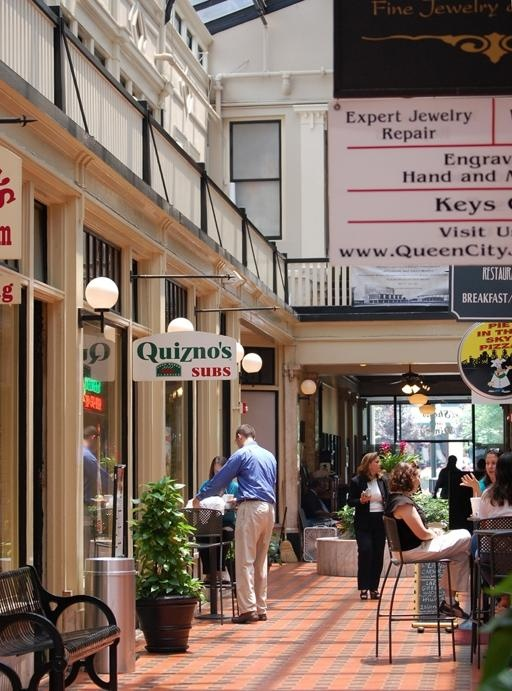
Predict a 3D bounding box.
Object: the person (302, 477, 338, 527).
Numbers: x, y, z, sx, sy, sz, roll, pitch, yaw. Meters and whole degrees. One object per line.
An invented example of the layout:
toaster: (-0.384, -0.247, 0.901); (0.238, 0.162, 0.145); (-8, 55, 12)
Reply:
person: (1.070, 2.530, 15.808); (0.496, 0.804, 0.521); (12, -14, -43)

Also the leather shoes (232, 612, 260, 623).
leather shoes: (-0.077, 2.267, 8.248); (0.217, 0.129, 0.082); (3, -5, -10)

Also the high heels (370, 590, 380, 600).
high heels: (1.177, 2.471, 9.837); (0.074, 0.053, 0.140); (-2, -5, -1)

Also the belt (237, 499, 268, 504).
belt: (-0.042, 1.269, 8.093); (0.230, 0.044, 0.086); (-5, -9, 25)

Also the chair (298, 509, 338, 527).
chair: (0.959, 2.714, 15.338); (0.529, 0.370, 0.363); (-1, -4, 8)

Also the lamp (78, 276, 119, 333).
lamp: (-0.985, -0.269, 6.306); (0.219, 0.358, 0.194); (4, 3, -18)

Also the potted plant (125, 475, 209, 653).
potted plant: (-0.615, 1.516, 6.834); (0.469, 1.203, 0.507); (-1, -7, -4)

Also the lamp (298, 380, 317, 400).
lamp: (0.908, 0.721, 16.356); (0.310, 0.400, 0.326); (6, -6, -8)

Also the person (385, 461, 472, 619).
person: (1.177, 1.340, 6.747); (0.551, 1.108, 0.934); (-3, -8, 11)
